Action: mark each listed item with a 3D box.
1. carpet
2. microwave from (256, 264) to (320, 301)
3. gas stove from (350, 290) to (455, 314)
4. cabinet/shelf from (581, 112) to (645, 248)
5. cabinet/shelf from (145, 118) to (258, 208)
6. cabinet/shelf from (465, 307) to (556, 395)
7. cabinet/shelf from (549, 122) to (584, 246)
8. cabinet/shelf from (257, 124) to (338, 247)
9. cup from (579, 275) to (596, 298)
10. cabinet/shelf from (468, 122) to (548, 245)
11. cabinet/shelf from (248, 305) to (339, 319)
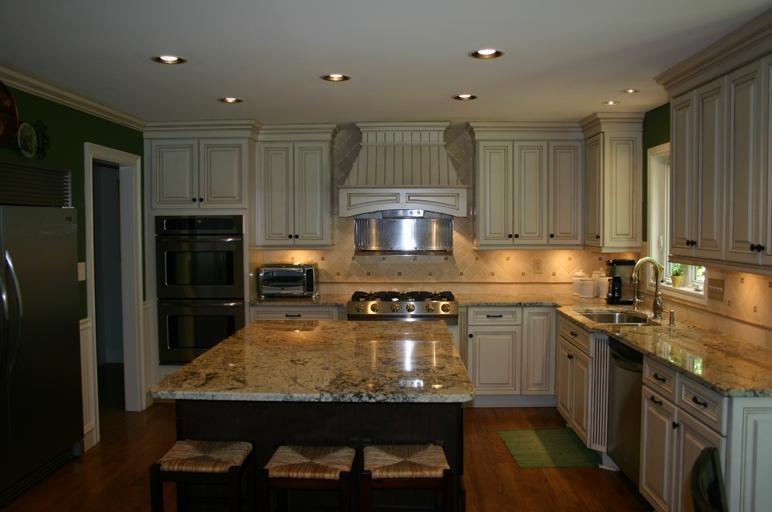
[{"bbox_3d":[1.554,1.814,5.226,0.803,0.029,0.744,-1,10,-4],"label":"carpet"},{"bbox_3d":[-1.116,0.292,6.297,0.608,0.333,0.431,0,-3,-3],"label":"microwave"},{"bbox_3d":[0.191,0.533,6.161,1.162,0.177,0.435,0,11,1],"label":"gas stove"},{"bbox_3d":[2.476,-0.816,6.020,0.582,1.463,0.619,0,12,2],"label":"cabinet/shelf"},{"bbox_3d":[-2.076,-1.064,6.163,1.106,0.796,0.423,0,0,-1],"label":"cabinet/shelf"},{"bbox_3d":[1.379,0.992,5.968,1.099,0.912,0.529,0,-3,2],"label":"cabinet/shelf"},{"bbox_3d":[2.048,-0.767,6.252,0.403,1.288,0.288,1,12,9],"label":"cabinet/shelf"},{"bbox_3d":[-1.048,-0.801,6.354,0.889,1.395,0.242,0,12,2],"label":"cabinet/shelf"},{"bbox_3d":[2.284,0.366,6.258,0.236,0.215,0.219,0,-2,0],"label":"cup"},{"bbox_3d":[1.436,-0.775,6.237,0.798,1.334,0.250,-1,12,0],"label":"cabinet/shelf"},{"bbox_3d":[-1.012,0.635,6.132,1.035,0.191,0.167,2,12,10],"label":"cabinet/shelf"}]
